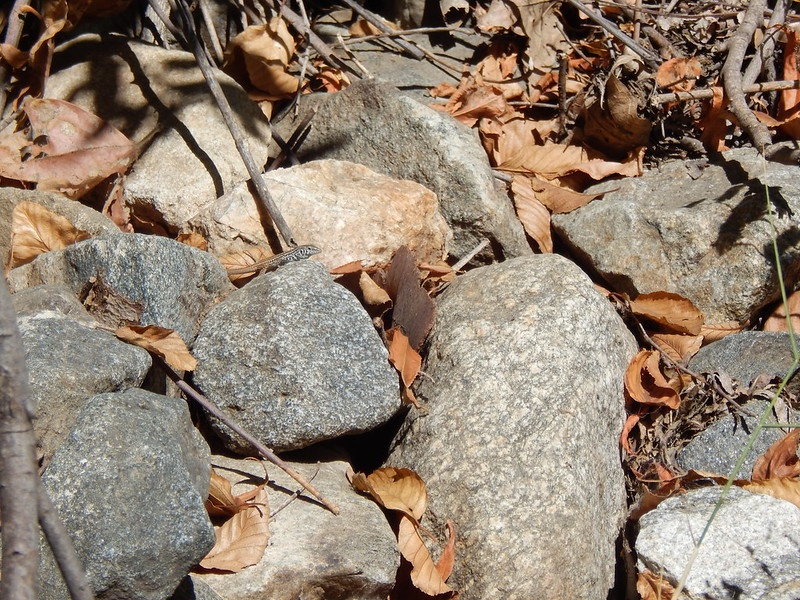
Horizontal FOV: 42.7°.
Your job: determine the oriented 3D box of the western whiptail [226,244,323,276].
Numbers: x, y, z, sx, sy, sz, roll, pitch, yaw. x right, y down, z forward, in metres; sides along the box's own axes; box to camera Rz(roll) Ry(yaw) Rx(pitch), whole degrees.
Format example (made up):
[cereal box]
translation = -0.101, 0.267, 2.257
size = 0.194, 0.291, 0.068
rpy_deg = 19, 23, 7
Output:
[western whiptail]
translation = -0.496, -0.142, 4.040
size = 0.377, 0.134, 0.112
rpy_deg = -9, 52, -7
